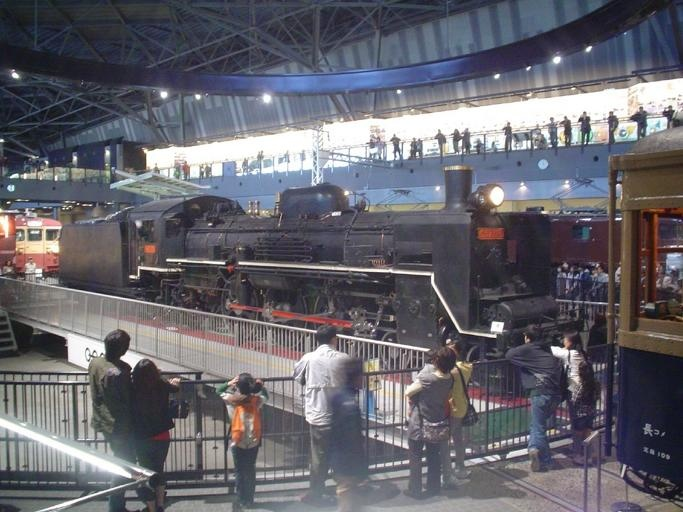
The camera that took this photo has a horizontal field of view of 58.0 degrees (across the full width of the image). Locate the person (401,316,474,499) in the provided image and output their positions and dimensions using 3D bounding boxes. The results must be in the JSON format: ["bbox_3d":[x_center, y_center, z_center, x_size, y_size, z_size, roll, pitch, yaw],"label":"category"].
[{"bbox_3d":[1.368,2.297,8.786,0.743,2.095,0.795,-2,4,26],"label":"person"}]

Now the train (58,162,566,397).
[{"bbox_3d":[-3.123,0.086,20.878,22.381,6.219,5.196,7,4,43],"label":"train"}]

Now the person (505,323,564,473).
[{"bbox_3d":[3.007,2.158,9.511,0.789,2.067,0.629,-6,5,-37],"label":"person"}]

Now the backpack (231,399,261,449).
[{"bbox_3d":[-1.341,2.345,8.566,0.451,0.844,0.610,5,-5,-16],"label":"backpack"}]

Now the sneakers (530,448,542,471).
[{"bbox_3d":[2.917,3.026,9.198,0.143,0.346,0.144,-3,-5,9],"label":"sneakers"}]

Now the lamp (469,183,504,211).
[{"bbox_3d":[2.868,-1.158,12.278,0.446,0.473,0.601,5,-2,-34],"label":"lamp"}]

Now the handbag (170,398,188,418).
[{"bbox_3d":[-2.246,2.100,8.477,0.336,0.307,0.206,2,-8,-24],"label":"handbag"}]
